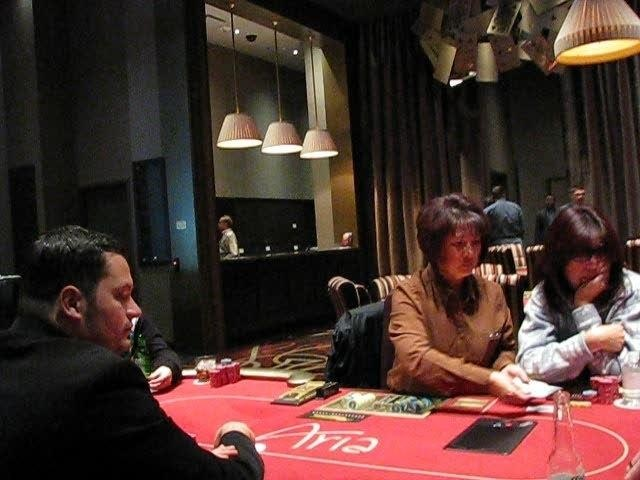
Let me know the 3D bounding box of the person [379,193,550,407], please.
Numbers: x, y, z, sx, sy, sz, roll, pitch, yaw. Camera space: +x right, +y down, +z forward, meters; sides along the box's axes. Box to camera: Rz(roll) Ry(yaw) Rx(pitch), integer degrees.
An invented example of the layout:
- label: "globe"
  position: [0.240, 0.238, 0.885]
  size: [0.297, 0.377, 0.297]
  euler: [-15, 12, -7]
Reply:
- label: "person"
  position: [0.609, 0.253, 2.236]
  size: [0.530, 0.926, 0.730]
  euler: [-2, -8, 16]

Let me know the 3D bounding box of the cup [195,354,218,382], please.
- label: "cup"
  position: [-0.611, 0.664, 2.586]
  size: [0.095, 0.149, 0.050]
  euler: [4, -8, 6]

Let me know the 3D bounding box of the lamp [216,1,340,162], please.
- label: "lamp"
  position: [-0.756, -2.740, 8.322]
  size: [0.563, 1.970, 1.878]
  euler: [-9, -13, 39]
